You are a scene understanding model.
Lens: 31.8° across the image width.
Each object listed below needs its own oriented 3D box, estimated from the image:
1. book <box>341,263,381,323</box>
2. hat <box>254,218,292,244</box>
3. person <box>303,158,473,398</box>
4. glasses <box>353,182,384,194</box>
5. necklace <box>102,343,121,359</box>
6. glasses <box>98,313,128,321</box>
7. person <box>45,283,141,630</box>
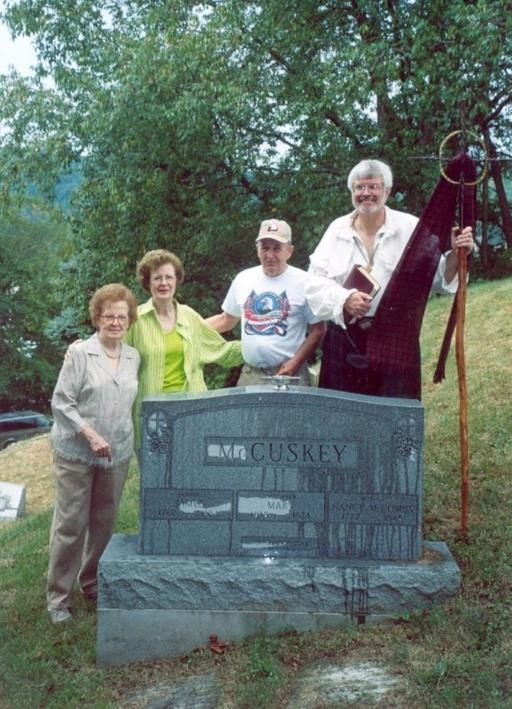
[{"bbox_3d":[0.622,-0.446,5.450,0.087,0.202,0.298,-1,-2,-34],"label":"book"},{"bbox_3d":[0.113,-0.822,6.015,0.218,0.191,0.232,-2,-1,-2],"label":"hat"},{"bbox_3d":[0.812,-0.455,5.636,0.988,1.045,0.697,-2,-1,3],"label":"person"},{"bbox_3d":[0.683,-1.021,5.480,0.190,0.038,0.091,-2,-2,5],"label":"glasses"},{"bbox_3d":[-0.902,-0.023,5.633,0.071,0.088,0.039,-1,-11,-26],"label":"necklace"},{"bbox_3d":[-0.881,-0.228,5.567,0.157,0.054,0.041,-1,-1,-19],"label":"glasses"},{"bbox_3d":[-1.068,0.615,5.611,0.592,2.104,0.492,-2,-1,21],"label":"person"}]
